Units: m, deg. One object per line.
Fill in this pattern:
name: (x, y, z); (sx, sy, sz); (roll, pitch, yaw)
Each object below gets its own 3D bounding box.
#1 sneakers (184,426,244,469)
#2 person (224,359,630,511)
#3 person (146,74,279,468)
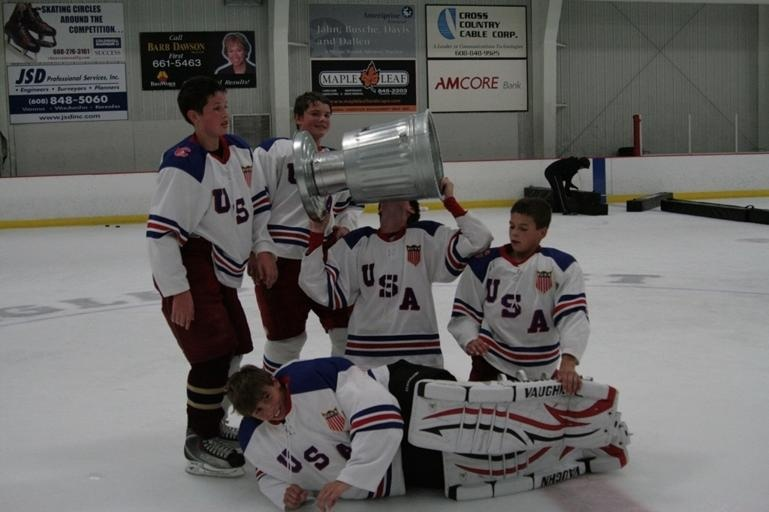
sneakers: (-0.907, 0.989, 3.408); (0.412, 0.223, 0.144); (1, 8, 13)
person: (0.211, 0.743, 3.191); (1.287, 0.468, 0.877); (-1, -7, -5)
person: (-0.884, 0.073, 3.413); (0.466, 1.955, 0.635); (3, 11, 19)
